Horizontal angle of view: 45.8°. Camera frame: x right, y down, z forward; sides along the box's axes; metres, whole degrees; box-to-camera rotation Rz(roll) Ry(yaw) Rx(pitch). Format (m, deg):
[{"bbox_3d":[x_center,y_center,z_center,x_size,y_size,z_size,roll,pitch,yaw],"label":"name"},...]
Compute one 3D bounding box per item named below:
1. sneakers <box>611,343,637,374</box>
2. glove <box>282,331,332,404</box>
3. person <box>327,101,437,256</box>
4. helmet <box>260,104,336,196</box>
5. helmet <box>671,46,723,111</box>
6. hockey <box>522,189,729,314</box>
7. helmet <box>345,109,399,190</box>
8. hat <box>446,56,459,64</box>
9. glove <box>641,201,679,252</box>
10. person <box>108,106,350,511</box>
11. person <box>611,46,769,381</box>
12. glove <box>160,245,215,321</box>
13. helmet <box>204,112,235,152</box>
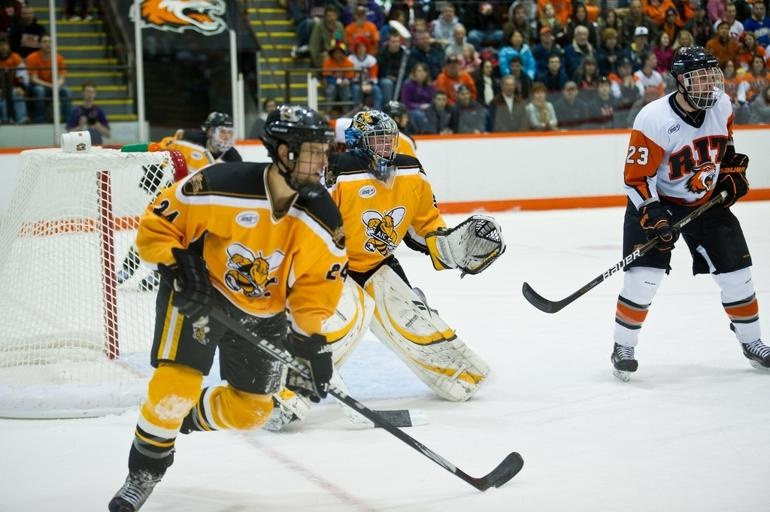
[{"bbox_3d":[1.502,0.638,5.682,0.159,0.183,0.201,3,9,15],"label":"sneakers"},{"bbox_3d":[-0.374,0.584,4.488,0.160,0.393,0.299,0,20,-29],"label":"glove"},{"bbox_3d":[-0.038,-0.712,6.865,0.965,1.307,0.431,-12,1,-30],"label":"person"},{"bbox_3d":[-0.391,-0.542,4.435,0.383,0.447,0.352,4,5,20],"label":"helmet"},{"bbox_3d":[1.912,-1.087,5.568,0.298,0.382,0.218,3,10,16],"label":"helmet"},{"bbox_3d":[1.869,0.001,7.124,2.193,0.367,0.111,-34,-46,28],"label":"hockey"},{"bbox_3d":[-0.063,-0.636,5.252,0.385,0.444,0.338,7,10,38],"label":"helmet"},{"bbox_3d":[0.806,-2.293,10.652,0.150,0.077,0.043,1,9,3],"label":"hat"},{"bbox_3d":[1.682,-0.175,5.568,0.136,0.291,0.246,-26,-38,11],"label":"glove"},{"bbox_3d":[-0.725,0.245,4.376,1.088,1.906,0.356,-2,10,-16],"label":"person"},{"bbox_3d":[1.931,-0.277,5.684,0.963,2.019,0.580,1,9,5],"label":"person"},{"bbox_3d":[-0.899,0.127,4.205,0.245,0.322,0.098,1,-7,-9],"label":"glove"},{"bbox_3d":[-1.402,-1.035,7.554,0.250,0.325,0.323,0,2,-26],"label":"helmet"}]
